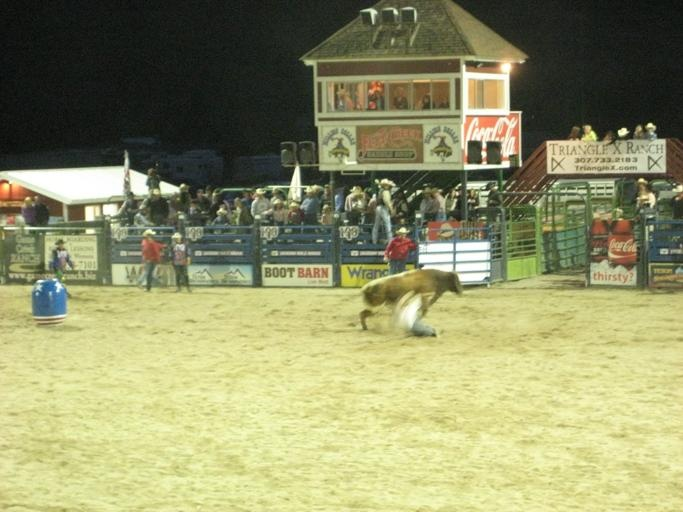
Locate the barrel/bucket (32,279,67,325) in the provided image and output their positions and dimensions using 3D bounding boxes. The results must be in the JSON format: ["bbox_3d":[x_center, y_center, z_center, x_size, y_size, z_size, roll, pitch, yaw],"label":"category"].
[{"bbox_3d":[-7.231,1.164,37.707,0.860,1.113,0.810,-2,6,0],"label":"barrel/bucket"}]

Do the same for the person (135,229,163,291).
[{"bbox_3d":[-5.371,0.094,43.337,0.740,1.654,0.789,-1,1,-43],"label":"person"}]

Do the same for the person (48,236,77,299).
[{"bbox_3d":[-7.847,0.144,42.765,0.783,1.878,0.605,9,16,41],"label":"person"}]

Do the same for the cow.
[{"bbox_3d":[1.669,0.969,36.674,2.745,1.430,0.652,-6,21,-18],"label":"cow"}]
